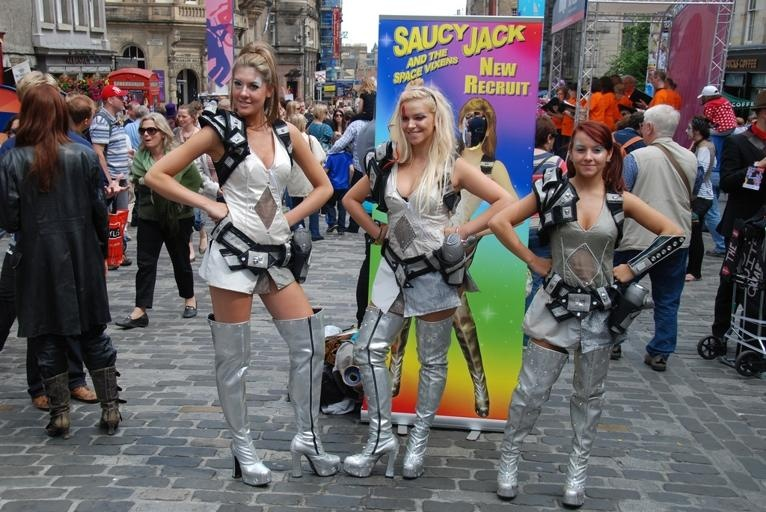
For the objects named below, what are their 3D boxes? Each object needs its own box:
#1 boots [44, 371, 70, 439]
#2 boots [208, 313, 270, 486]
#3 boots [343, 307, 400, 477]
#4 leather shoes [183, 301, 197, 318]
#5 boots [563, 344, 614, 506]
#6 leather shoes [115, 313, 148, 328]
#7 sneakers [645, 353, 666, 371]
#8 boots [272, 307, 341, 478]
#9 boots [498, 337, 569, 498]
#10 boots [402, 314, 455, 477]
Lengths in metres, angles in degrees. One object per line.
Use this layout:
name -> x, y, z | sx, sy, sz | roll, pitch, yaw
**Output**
boots -> -2.526, 1.156, 4.841 | 0.183, 0.486, 0.215 | -2, 14, -17
boots -> -0.954, 0.984, 4.270 | 0.471, 1.156, 0.226 | 8, 14, 25
boots -> -0.071, 0.963, 4.424 | 0.390, 1.207, 0.324 | 2, 13, 1
leather shoes -> -2.343, 0.668, 7.600 | 0.103, 0.076, 0.258 | 3, 32, -2
boots -> 1.337, 1.139, 4.165 | 0.211, 1.034, 0.356 | 6, 14, 18
leather shoes -> -2.880, 0.747, 7.182 | 0.282, 0.111, 0.157 | 1, 2, -17
sneakers -> 2.787, 1.093, 6.410 | 0.101, 0.110, 0.250 | 1, 10, 5
boots -> -0.519, 0.970, 4.365 | 0.462, 1.162, 0.249 | 0, 13, -7
boots -> 0.967, 1.101, 4.259 | 0.474, 1.048, 0.218 | -6, 15, -31
boots -> 0.281, 0.996, 4.423 | 0.204, 1.141, 0.366 | 12, 16, 37
